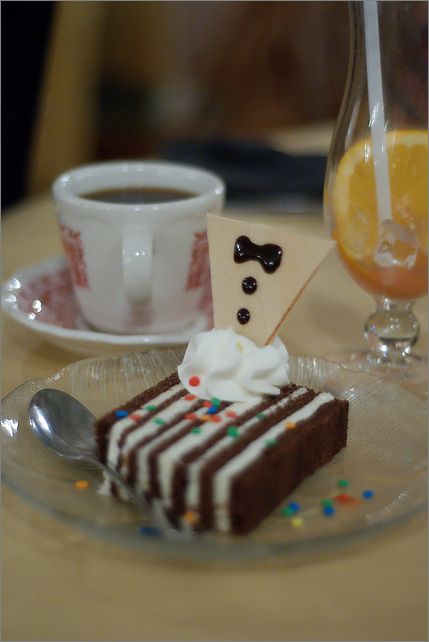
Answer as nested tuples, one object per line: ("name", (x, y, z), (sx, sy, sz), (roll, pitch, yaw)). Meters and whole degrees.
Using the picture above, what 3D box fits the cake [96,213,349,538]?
("cake", (0.019, 0.063, 0.749), (0.298, 0.308, 0.332), (8, 23, 11))

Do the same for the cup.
("cup", (-0.119, -0.136, 1.082), (0.285, 0.212, 0.325), (0, 28, -1))

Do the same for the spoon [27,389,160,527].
("spoon", (-0.182, 0.131, 0.726), (0.277, 0.035, 0.071), (37, 24, 31))
